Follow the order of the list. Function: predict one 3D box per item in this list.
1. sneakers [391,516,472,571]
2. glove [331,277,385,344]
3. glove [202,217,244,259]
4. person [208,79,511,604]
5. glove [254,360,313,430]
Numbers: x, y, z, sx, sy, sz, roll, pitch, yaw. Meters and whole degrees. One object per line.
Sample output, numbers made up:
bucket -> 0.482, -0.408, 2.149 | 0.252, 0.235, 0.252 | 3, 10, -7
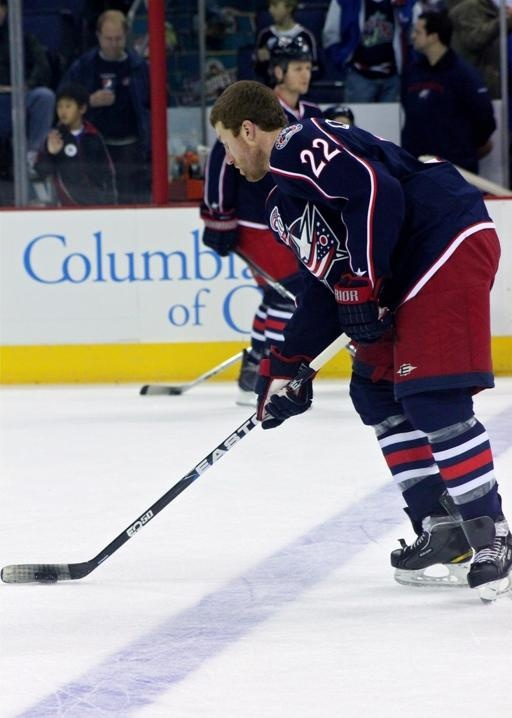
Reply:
sneakers -> 0.362, 0.370, 1.925 | 0.216, 0.116, 0.071 | -3, 0, 4
glove -> 0.188, -0.089, 1.775 | 0.085, 0.141, 0.179 | -2, 8, 2
glove -> -0.130, -0.466, 3.754 | 0.122, 0.113, 0.138 | 2, 11, -11
person -> 0.199, -0.042, 1.875 | 0.552, 1.041, 0.411 | -1, 9, 6
glove -> 0.058, 0.080, 1.953 | 0.145, 0.129, 0.066 | 18, -2, 35
